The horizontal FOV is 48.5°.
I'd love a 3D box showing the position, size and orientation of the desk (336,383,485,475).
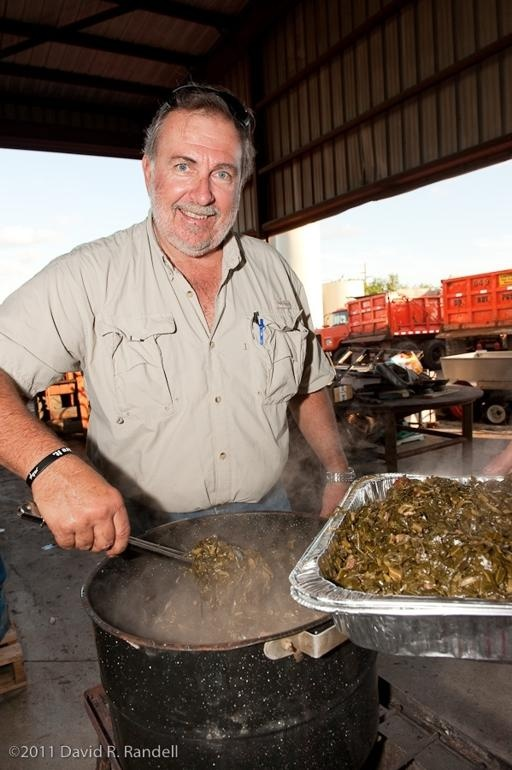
[{"bbox_3d":[1.313,0.428,5.497,1.642,0.817,1.629,-2,6,-1],"label":"desk"}]
